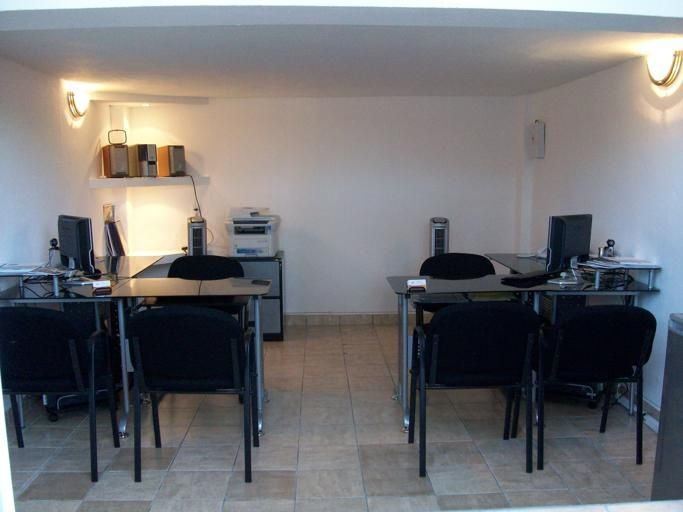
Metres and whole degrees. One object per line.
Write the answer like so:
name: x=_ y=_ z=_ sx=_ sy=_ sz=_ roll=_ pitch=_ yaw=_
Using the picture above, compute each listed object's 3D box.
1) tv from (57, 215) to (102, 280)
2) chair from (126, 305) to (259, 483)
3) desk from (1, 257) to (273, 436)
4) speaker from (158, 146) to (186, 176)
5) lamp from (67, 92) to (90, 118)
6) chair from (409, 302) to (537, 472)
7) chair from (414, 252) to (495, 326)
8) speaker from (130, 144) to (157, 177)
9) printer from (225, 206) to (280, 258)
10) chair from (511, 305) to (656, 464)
tv: x=-2.035 y=-0.062 z=4.500 sx=0.498 sy=0.430 sz=0.163 roll=15 pitch=21 yaw=38
chair: x=-0.936 y=0.830 z=3.764 sx=0.770 sy=1.145 sz=0.796 roll=1 pitch=5 yaw=1
desk: x=-1.135 y=0.847 z=4.558 sx=1.671 sy=0.809 sz=1.103 roll=0 pitch=6 yaw=-2
speaker: x=-1.781 y=-0.987 z=6.116 sx=0.379 sy=0.388 sz=0.231 roll=6 pitch=10 yaw=24
lamp: x=-2.382 y=-1.362 z=5.283 sx=0.046 sy=0.195 sz=0.202 roll=3 pitch=4 yaw=12
chair: x=0.830 y=0.791 z=3.820 sx=0.820 sy=1.076 sz=0.749 roll=0 pitch=5 yaw=5
chair: x=0.993 y=0.283 z=5.072 sx=0.630 sy=0.789 sz=0.578 roll=0 pitch=-1 yaw=5
speaker: x=-2.041 y=-0.979 z=5.993 sx=0.263 sy=0.331 sz=0.156 roll=-2 pitch=14 yaw=-6
printer: x=-0.903 y=-0.241 z=5.825 sx=0.439 sy=0.390 sz=0.528 roll=0 pitch=2 yaw=-2
chair: x=1.535 y=0.801 z=3.896 sx=0.861 sy=1.153 sz=0.793 roll=-8 pitch=5 yaw=-12
